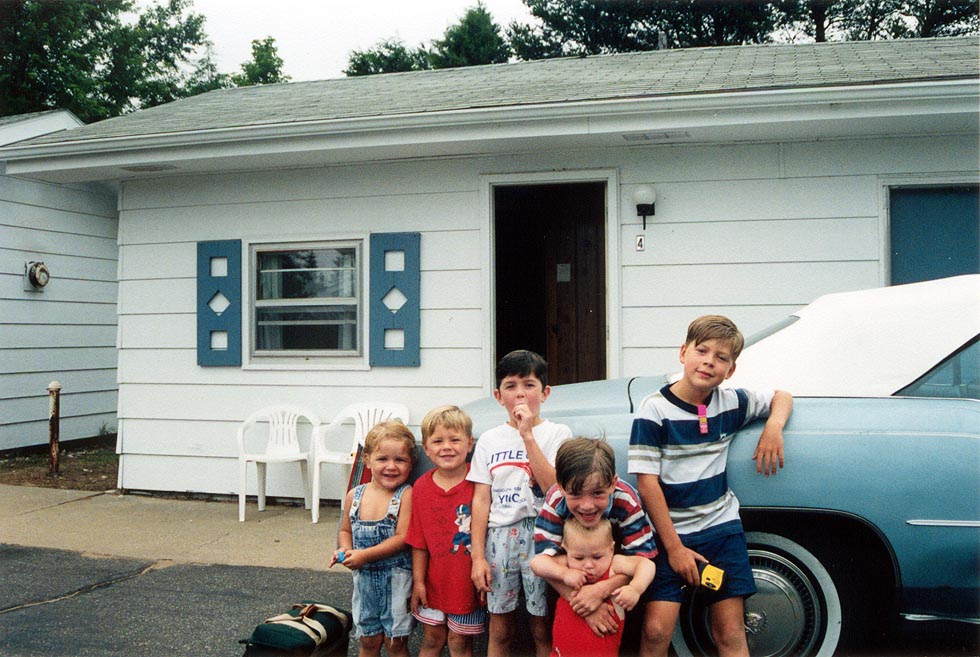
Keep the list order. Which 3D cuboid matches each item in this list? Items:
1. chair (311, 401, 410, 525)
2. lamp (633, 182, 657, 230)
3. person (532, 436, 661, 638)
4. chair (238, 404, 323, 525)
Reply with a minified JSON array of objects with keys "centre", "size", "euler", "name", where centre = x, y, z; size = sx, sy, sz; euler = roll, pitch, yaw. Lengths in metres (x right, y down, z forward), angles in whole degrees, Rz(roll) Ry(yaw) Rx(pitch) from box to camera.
[{"centre":[-1.215,1.258,9.258],"size":[0.801,1.061,0.770],"euler":[1,2,21],"name":"chair"},{"centre":[1.448,-1.126,9.117],"size":[0.199,0.425,0.147],"euler":[-2,8,12],"name":"lamp"},{"centre":[0.643,1.290,6.149],"size":[0.783,1.209,0.308],"euler":[-3,8,8],"name":"person"},{"centre":[-1.996,1.280,9.387],"size":[0.819,1.046,0.789],"euler":[-1,-2,6],"name":"chair"}]
